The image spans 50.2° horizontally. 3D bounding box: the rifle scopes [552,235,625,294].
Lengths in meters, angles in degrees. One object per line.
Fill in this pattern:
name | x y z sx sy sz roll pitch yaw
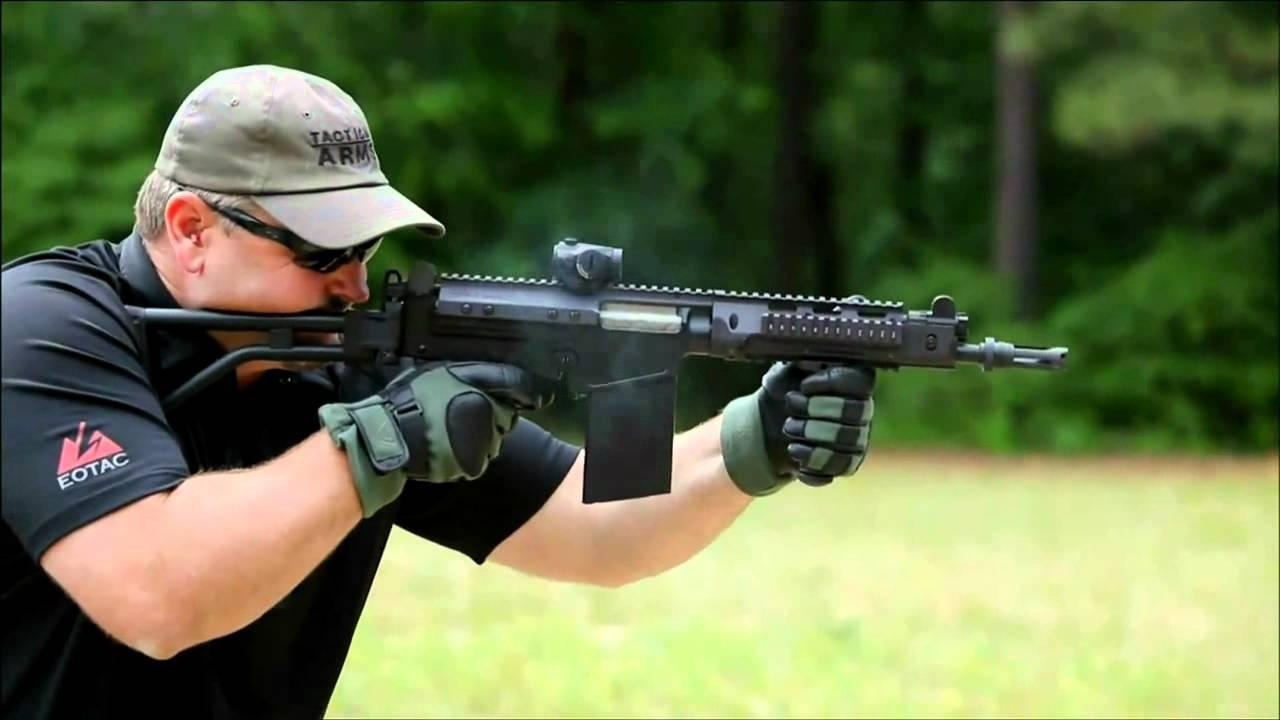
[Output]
rifle scopes | -0.354 -0.618 9.064 0.427 0.369 0.304 -2 3 2
